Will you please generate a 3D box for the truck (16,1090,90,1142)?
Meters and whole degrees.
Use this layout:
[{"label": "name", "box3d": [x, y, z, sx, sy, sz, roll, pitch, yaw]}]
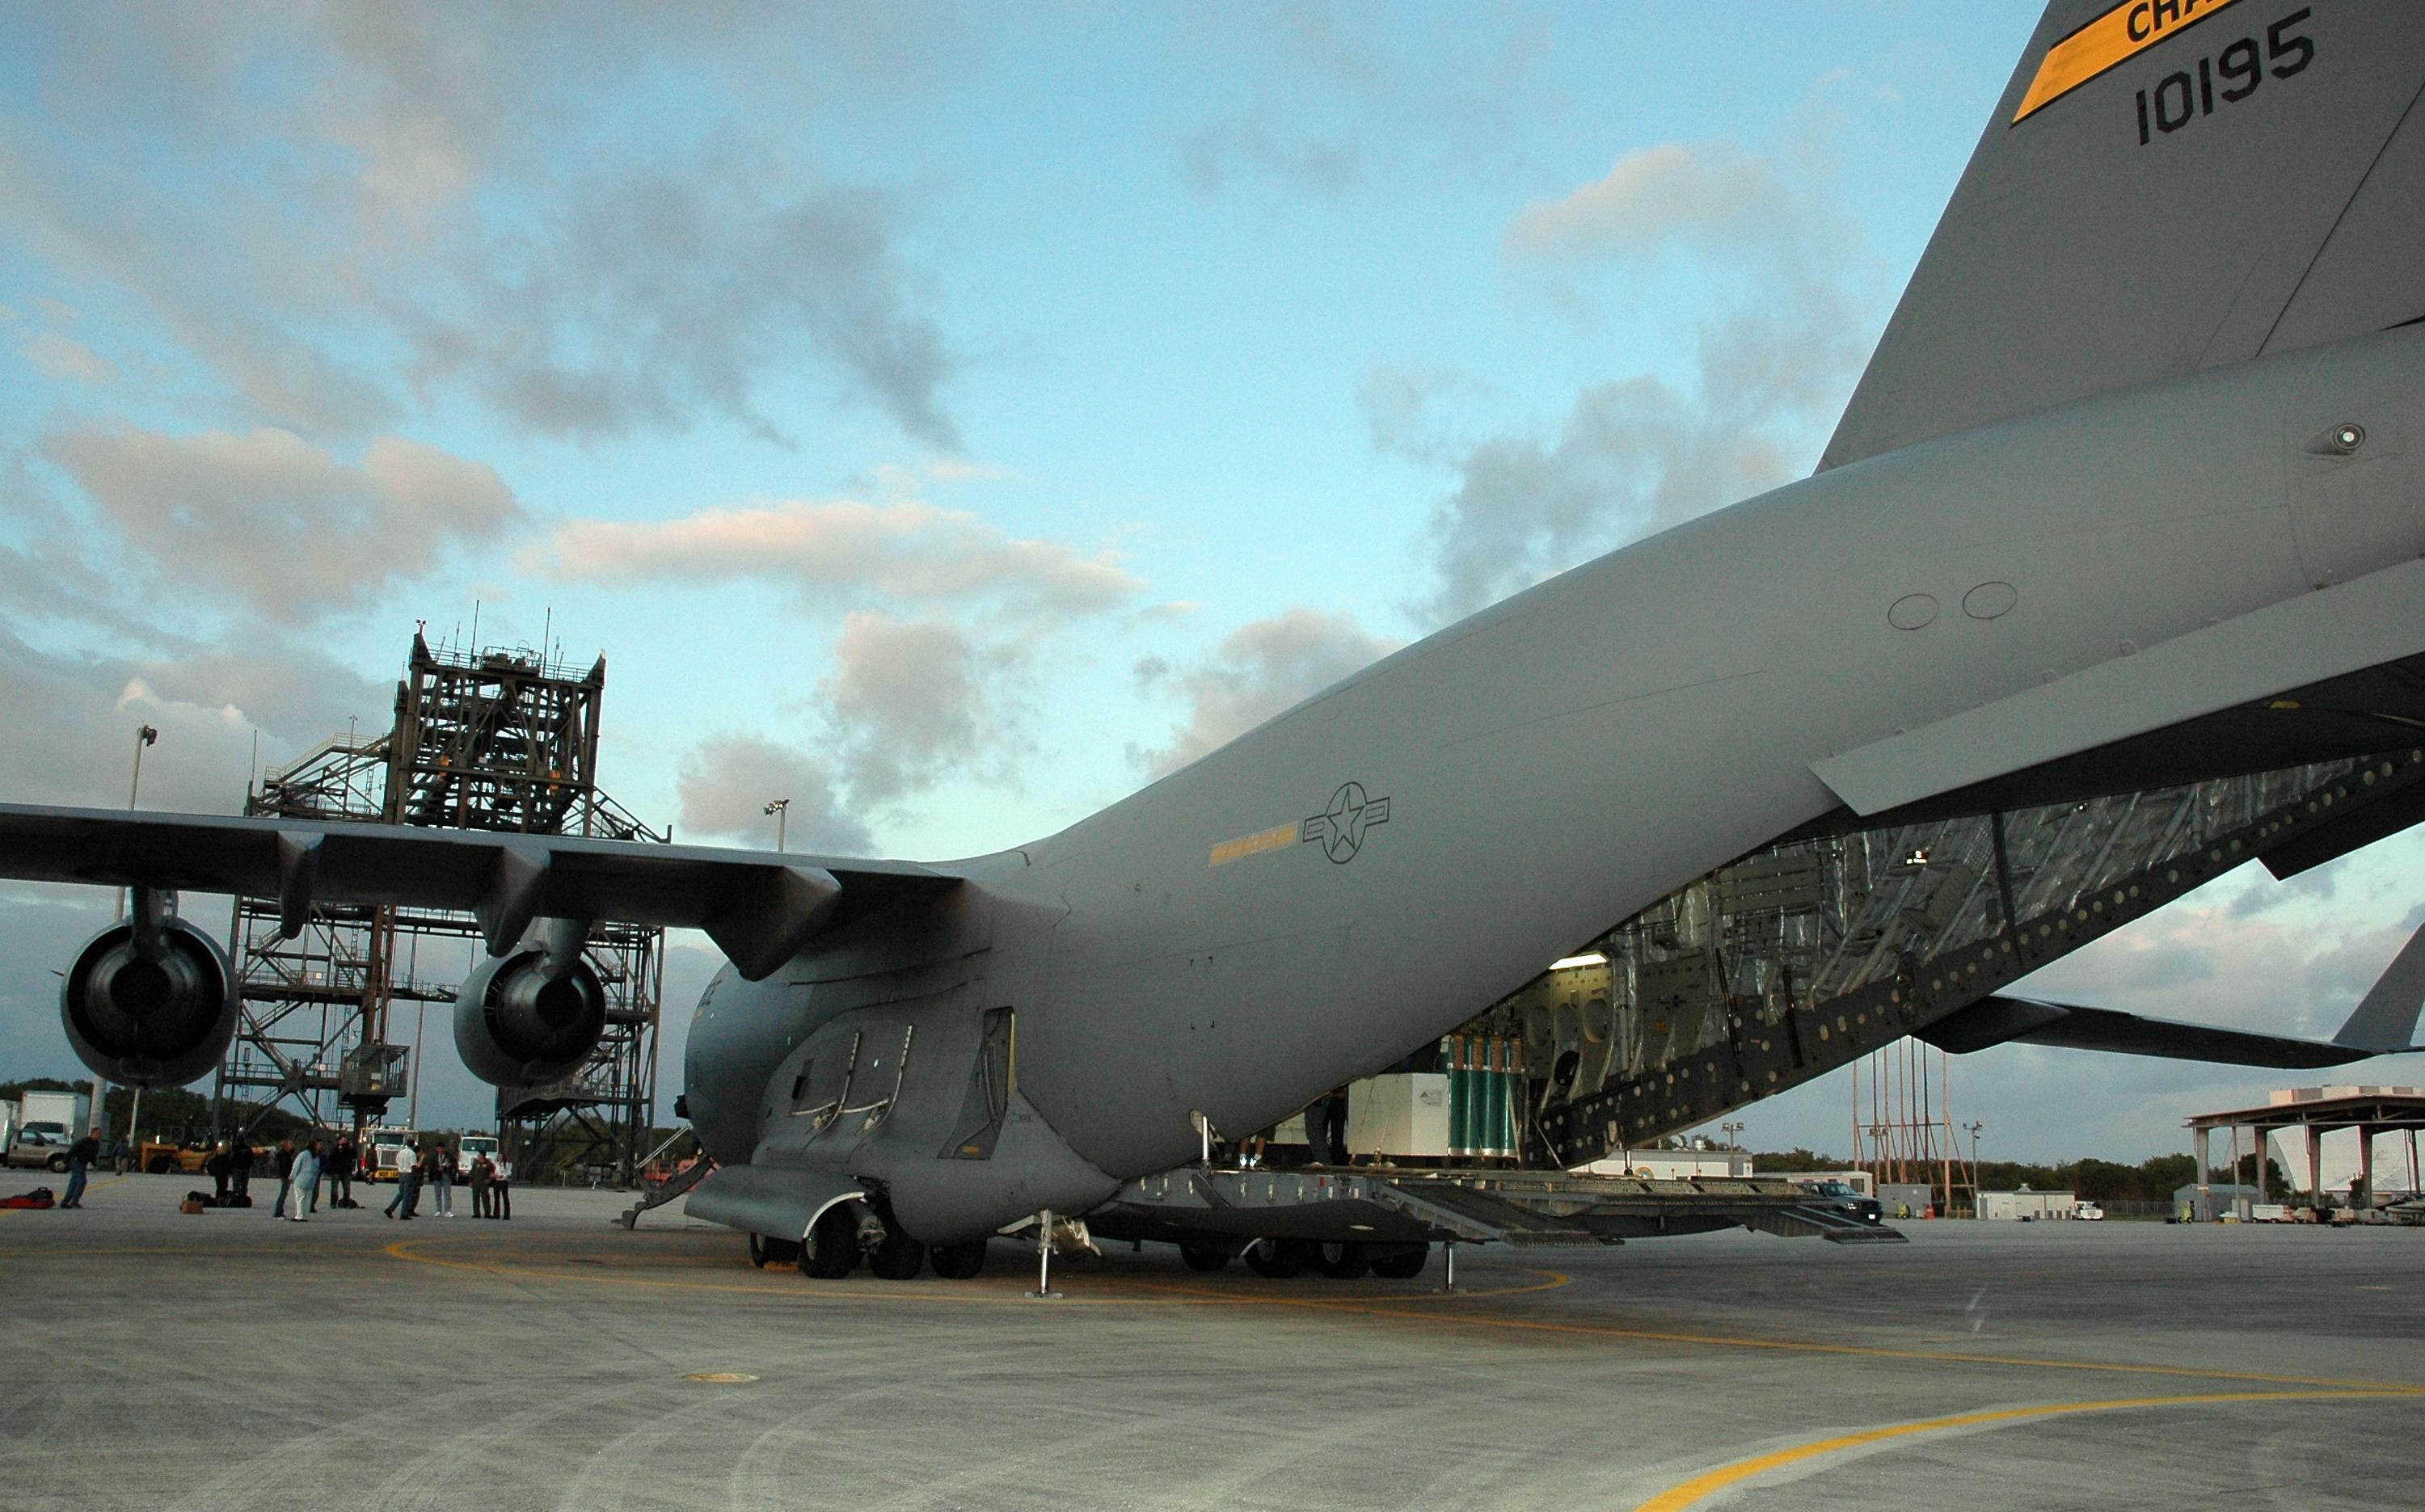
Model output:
[{"label": "truck", "box3d": [-34.512, 10.551, 53.533, 1.383, 1.454, 2.174, -1, -3, -12]}]
